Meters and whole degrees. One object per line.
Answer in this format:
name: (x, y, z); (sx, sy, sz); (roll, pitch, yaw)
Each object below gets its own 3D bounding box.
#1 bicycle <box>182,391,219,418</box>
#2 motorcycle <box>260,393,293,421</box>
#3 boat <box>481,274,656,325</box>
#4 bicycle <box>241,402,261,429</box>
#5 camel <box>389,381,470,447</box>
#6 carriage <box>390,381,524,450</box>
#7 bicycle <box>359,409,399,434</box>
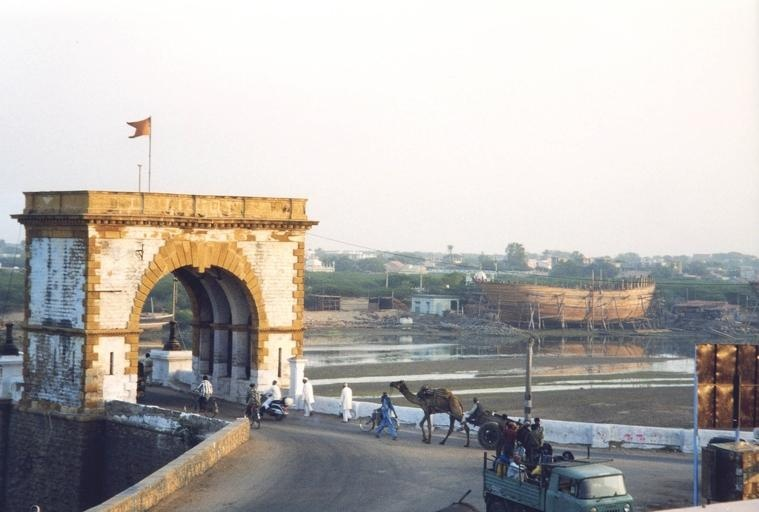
bicycle: (-9.695, 8.241, 70.133); (2.274, 1.302, 1.032); (4, 3, 33)
motorcycle: (-5.906, 8.317, 69.399); (1.578, 1.357, 1.011); (-2, -5, 20)
boat: (29.427, 7.414, 193.306); (27.947, 7.179, 15.233); (0, -5, 0)
bicycle: (-6.906, 8.589, 68.129); (0.858, 1.316, 1.593); (0, -5, -7)
camel: (2.512, 8.084, 64.883); (4.397, 2.855, 1.218); (5, -8, -7)
carriage: (3.826, 8.374, 64.644); (4.437, 3.666, 7.954); (0, -3, -3)
bicycle: (-0.085, 8.714, 67.201); (2.043, 1.159, 1.052); (-4, 5, -2)
